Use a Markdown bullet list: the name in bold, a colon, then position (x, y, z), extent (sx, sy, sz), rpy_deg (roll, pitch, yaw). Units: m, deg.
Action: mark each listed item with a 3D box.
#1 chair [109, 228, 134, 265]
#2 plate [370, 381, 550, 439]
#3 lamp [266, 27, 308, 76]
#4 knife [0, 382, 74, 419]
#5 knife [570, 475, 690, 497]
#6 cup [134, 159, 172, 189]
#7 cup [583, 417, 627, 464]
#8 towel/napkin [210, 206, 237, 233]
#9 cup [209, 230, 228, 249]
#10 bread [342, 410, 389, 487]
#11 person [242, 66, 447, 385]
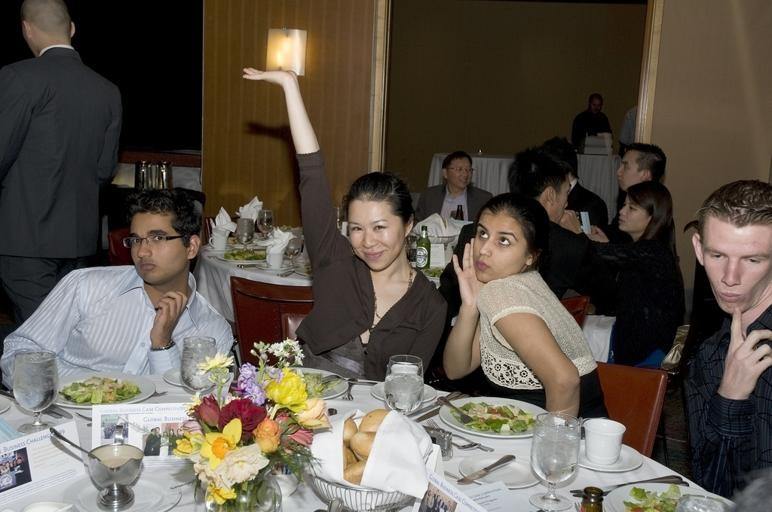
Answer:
- **chair**: position (-1.739, -0.062, 3.526), extent (0.165, 0.209, 0.147), rpy_deg (29, 31, 24)
- **plate**: position (0.307, 0.533, 1.836), extent (0.483, 0.044, 0.229), rpy_deg (7, 12, 32)
- **lamp**: position (-1.212, -2.343, 6.216), extent (0.363, 0.420, 0.357), rpy_deg (-4, 13, -31)
- **knife**: position (-1.107, 0.463, 1.711), extent (0.333, 0.017, 0.046), rpy_deg (19, 47, 16)
- **knife**: position (0.687, 0.651, 1.521), extent (0.294, 0.034, 0.036), rpy_deg (-6, 46, -10)
- **cup**: position (-2.101, -0.734, 4.869), extent (0.272, 0.248, 0.412), rpy_deg (-5, 10, -31)
- **cup**: position (0.656, 0.553, 1.641), extent (0.107, 0.097, 0.129), rpy_deg (-1, 0, -9)
- **towel/napkin**: position (-1.265, -0.287, 4.286), extent (0.209, 0.229, 0.086), rpy_deg (2, -16, 11)
- **cup**: position (-1.286, -0.131, 4.140), extent (0.157, 0.164, 0.104), rpy_deg (0, 15, -12)
- **bread**: position (-0.053, 0.461, 1.362), extent (0.107, 0.162, 0.221), rpy_deg (0, 9, 0)
- **person**: position (-0.132, -0.159, 2.335), extent (0.796, 1.310, 0.538), rpy_deg (2, 9, 12)
